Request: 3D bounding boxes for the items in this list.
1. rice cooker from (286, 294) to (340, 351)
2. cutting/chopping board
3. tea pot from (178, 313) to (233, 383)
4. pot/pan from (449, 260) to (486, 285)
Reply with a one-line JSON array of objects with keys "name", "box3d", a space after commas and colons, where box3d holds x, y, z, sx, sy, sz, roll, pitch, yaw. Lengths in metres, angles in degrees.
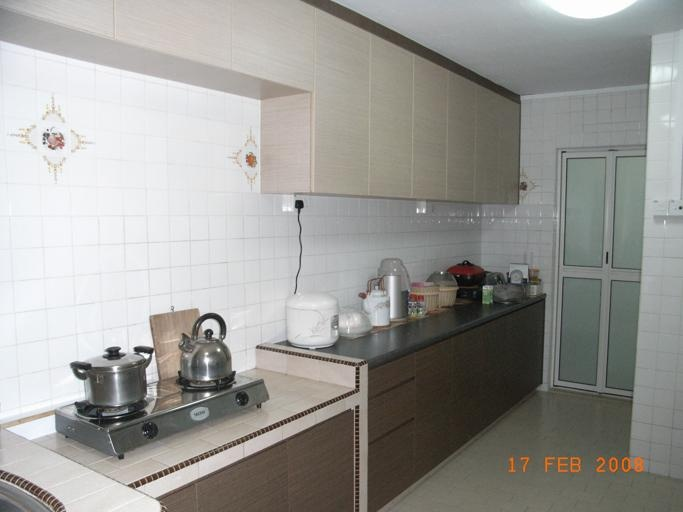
[{"name": "rice cooker", "box3d": [-0.177, 0.390, 3.043, 0.322, 0.311, 0.314, 1, 3, 25]}, {"name": "cutting/chopping board", "box3d": [-0.877, 0.454, 2.573, 0.101, 0.338, 0.220, 10, 10, 33]}, {"name": "tea pot", "box3d": [-0.664, 0.455, 2.532, 0.280, 0.348, 0.330, 5, 5, 44]}, {"name": "pot/pan", "box3d": [1.203, 0.162, 4.719, 0.262, 0.183, 0.263, -1, 2, 15]}]
